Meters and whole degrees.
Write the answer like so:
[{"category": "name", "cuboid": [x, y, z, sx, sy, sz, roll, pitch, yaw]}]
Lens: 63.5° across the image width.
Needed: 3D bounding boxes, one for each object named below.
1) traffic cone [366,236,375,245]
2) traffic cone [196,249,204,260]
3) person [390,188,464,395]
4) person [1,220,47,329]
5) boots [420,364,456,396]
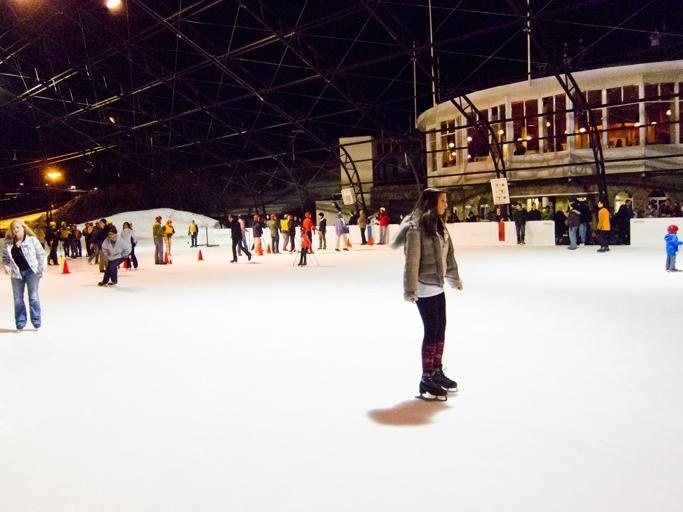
[{"category": "traffic cone", "cuboid": [1.534, -0.773, 29.389, 0.381, 0.751, 0.419, 0, -6, 10]}, {"category": "traffic cone", "cuboid": [-6.069, -0.026, 23.659, 0.356, 0.427, 0.368, 6, 13, 23]}, {"category": "person", "cuboid": [0.900, 0.370, 5.576, 0.710, 2.079, 0.548, -3, 6, -19]}, {"category": "person", "cuboid": [-4.888, 0.283, 8.553, 0.554, 1.684, 1.247, -4, 7, -29]}, {"category": "boots", "cuboid": [0.959, 1.236, 5.539, 0.238, 0.216, 0.307, -2, -1, 18]}]
